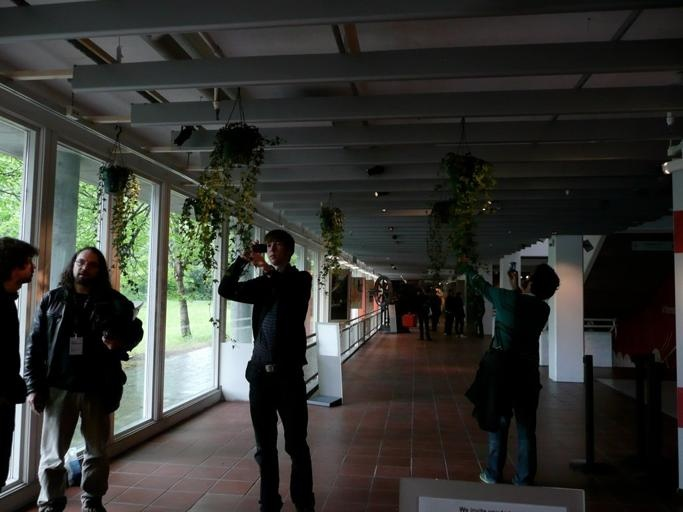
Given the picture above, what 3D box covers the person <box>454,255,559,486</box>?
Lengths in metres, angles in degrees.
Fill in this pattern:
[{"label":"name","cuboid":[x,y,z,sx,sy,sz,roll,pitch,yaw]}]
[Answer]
[{"label":"person","cuboid":[1.572,1.084,4.777,0.835,2.063,0.387,1,-4,15]}]
